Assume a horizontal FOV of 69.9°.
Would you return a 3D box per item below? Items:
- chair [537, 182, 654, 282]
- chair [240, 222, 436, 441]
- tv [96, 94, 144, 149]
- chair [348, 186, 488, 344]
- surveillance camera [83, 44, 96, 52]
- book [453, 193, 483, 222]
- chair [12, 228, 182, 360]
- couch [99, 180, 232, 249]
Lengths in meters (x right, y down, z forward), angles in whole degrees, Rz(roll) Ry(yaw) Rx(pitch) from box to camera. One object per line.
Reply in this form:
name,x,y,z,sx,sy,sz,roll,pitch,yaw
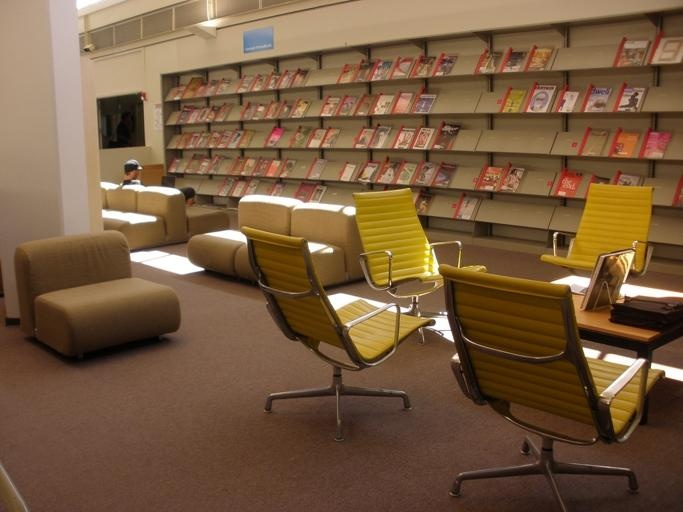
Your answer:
chair,2.722,-0.317,5.055,1.081,1.006,1.241,-7,9,-40
chair,0.007,0.424,3.181,1.197,1.063,0.786,0,4,-41
tv,-6.193,-3.744,13.669,0.602,1.500,2.428,-11,20,-38
chair,0.757,0.035,4.314,1.233,1.204,1.113,1,10,21
surveillance camera,-7.168,-5.900,13.904,0.270,0.244,0.355,13,28,28
book,2.012,-0.778,7.796,0.429,0.384,0.100,12,-11,33
chair,-2.081,0.273,4.297,1.230,0.877,1.212,12,14,40
couch,-3.060,-0.639,8.129,1.838,0.585,1.440,9,12,43
